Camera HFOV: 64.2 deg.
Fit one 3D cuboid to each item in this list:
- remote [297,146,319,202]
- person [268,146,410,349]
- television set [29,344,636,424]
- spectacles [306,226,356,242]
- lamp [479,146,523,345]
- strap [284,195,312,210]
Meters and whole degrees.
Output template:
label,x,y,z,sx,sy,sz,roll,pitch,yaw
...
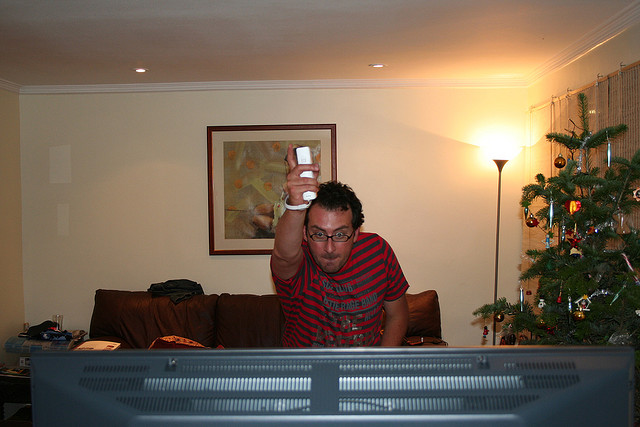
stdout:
label,x,y,z,sx,sy,sz,roll,pitch,yaw
remote,-0.044,-0.182,2.382,0.080,0.245,0.167,0,-3,18
person,0.091,0.244,2.733,0.708,1.042,0.952,0,-3,12
television set,0.042,0.667,2.001,2.395,0.333,0.099,1,-3,1
spectacles,0.056,0.119,2.738,0.241,0.066,0.074,1,-3,0
lamp,1.751,0.091,4.880,0.357,1.480,0.253,3,-4,-34
strap,-0.104,-0.051,2.430,0.118,0.066,0.119,1,-3,-7
